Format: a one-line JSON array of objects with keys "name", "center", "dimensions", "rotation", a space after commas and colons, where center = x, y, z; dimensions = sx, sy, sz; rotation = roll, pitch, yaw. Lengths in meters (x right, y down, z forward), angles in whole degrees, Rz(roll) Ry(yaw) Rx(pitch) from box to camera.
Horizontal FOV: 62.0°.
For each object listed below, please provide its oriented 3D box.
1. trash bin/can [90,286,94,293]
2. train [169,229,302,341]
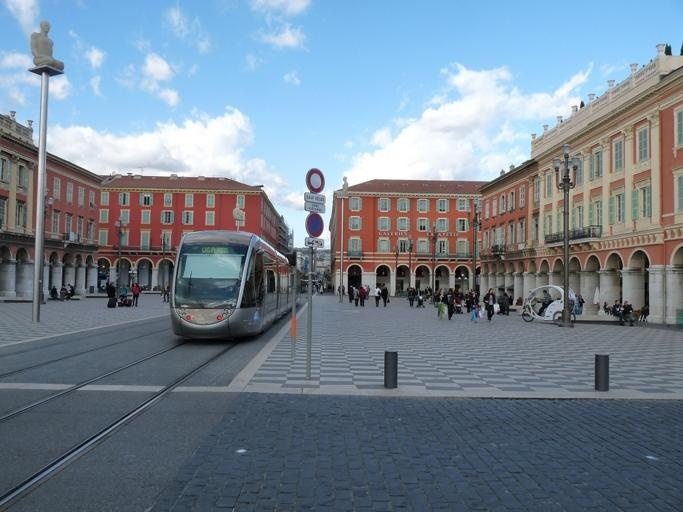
[{"name": "trash bin/can", "center": [-26.023, 3.461, 59.341], "dimensions": [0.446, 0.641, 0.704], "rotation": [1, -5, -23]}, {"name": "train", "center": [-3.784, 1.014, 22.581], "dimensions": [2.704, 3.520, 12.706], "rotation": [0, -2, 1]}]
